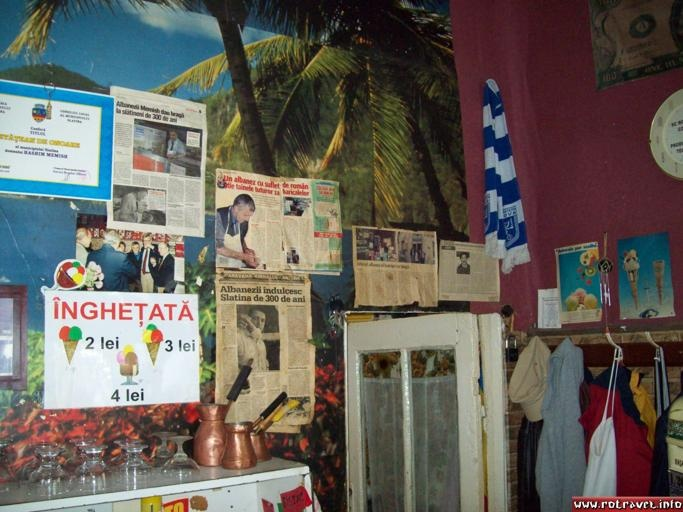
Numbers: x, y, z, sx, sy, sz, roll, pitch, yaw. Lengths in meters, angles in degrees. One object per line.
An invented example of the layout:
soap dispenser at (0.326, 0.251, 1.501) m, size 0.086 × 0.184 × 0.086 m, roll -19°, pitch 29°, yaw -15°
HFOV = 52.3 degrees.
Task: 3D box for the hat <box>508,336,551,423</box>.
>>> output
hat at (1.167, 0.766, 4.359) m, size 0.245 × 0.530 × 0.130 m, roll 0°, pitch -5°, yaw 19°

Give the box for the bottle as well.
bottle at (-0.608, 0.925, 3.587) m, size 0.352 × 0.311 × 0.229 m, roll -3°, pitch -7°, yaw 21°
